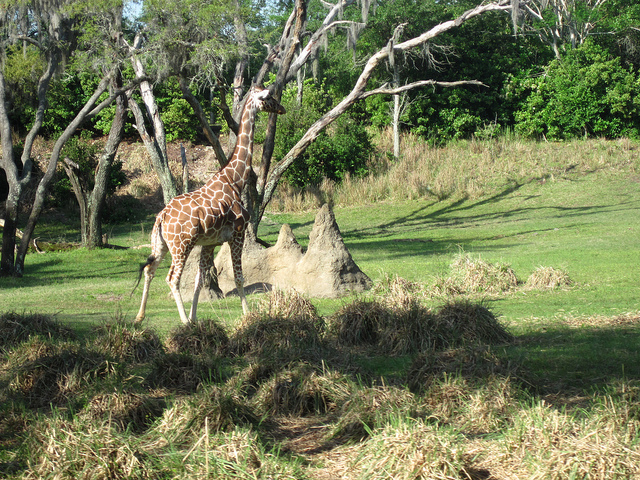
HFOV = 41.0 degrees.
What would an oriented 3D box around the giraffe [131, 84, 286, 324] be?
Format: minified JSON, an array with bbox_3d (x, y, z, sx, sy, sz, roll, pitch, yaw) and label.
[{"bbox_3d":[-2.296,-0.740,17.666,2.989,4.693,1.309,-10,12,-39],"label":"giraffe"}]
